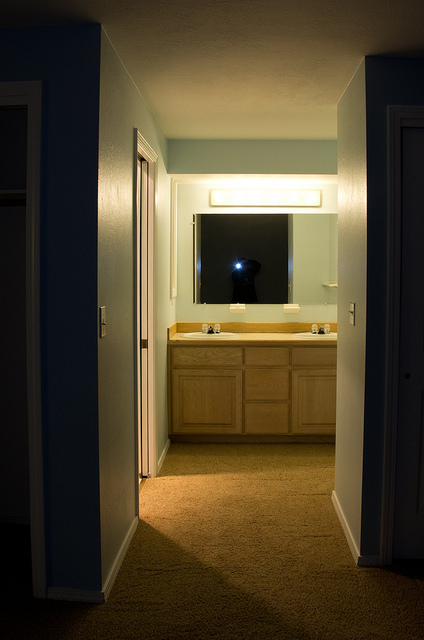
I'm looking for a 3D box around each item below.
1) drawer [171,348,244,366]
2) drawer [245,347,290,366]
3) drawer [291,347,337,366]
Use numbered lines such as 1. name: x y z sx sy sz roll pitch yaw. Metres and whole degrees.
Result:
1. drawer: -0.035 0.298 3.927 0.583 0.142 0.044 0 2 -3
2. drawer: 0.444 0.298 3.924 0.360 0.139 0.067 0 2 -9
3. drawer: 0.810 0.298 3.910 0.346 0.152 0.036 1 2 5
